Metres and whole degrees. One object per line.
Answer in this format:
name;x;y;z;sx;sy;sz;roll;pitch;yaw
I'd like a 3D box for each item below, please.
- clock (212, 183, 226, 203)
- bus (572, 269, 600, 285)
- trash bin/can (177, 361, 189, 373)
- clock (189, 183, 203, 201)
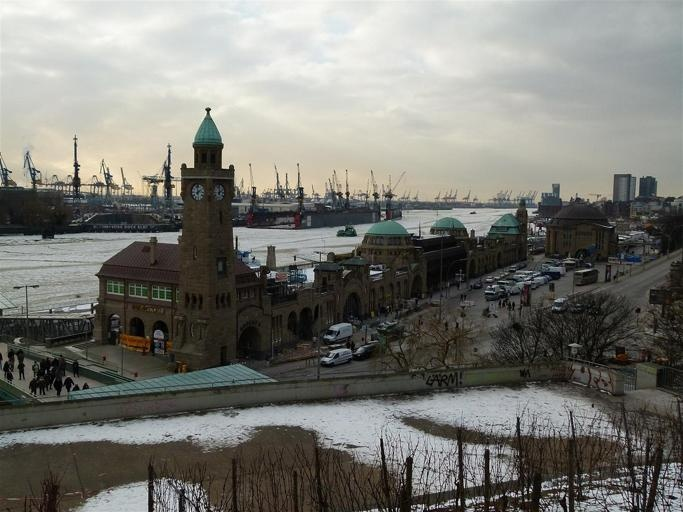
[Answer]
clock;-9.034;-4.714;61.053;0.077;1.252;1.195;2;17;30
bus;28.323;2.531;97.195;1.769;1.799;5.902;3;12;39
trash bin/can;-11.404;7.907;59.225;0.644;1.280;0.701;3;3;44
clock;-10.632;-4.699;60.775;1.041;1.124;0.284;9;1;29
